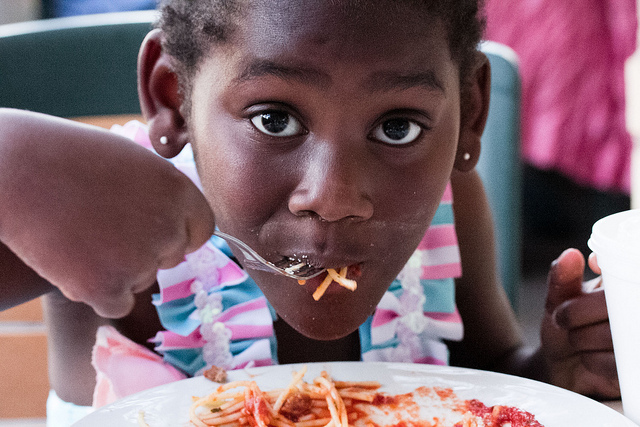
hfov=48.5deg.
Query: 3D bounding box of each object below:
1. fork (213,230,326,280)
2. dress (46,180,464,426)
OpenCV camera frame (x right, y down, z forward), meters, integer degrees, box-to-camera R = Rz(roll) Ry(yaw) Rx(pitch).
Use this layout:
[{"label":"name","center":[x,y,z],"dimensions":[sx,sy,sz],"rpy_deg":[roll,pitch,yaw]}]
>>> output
[{"label":"fork","center":[-0.108,0.100,1.647],"dimensions":[0.370,0.057,0.054],"rpy_deg":[13,85,35]},{"label":"dress","center":[-0.217,0.317,2.370],"dimensions":[0.862,0.843,0.321],"rpy_deg":[0,53,-7]}]
